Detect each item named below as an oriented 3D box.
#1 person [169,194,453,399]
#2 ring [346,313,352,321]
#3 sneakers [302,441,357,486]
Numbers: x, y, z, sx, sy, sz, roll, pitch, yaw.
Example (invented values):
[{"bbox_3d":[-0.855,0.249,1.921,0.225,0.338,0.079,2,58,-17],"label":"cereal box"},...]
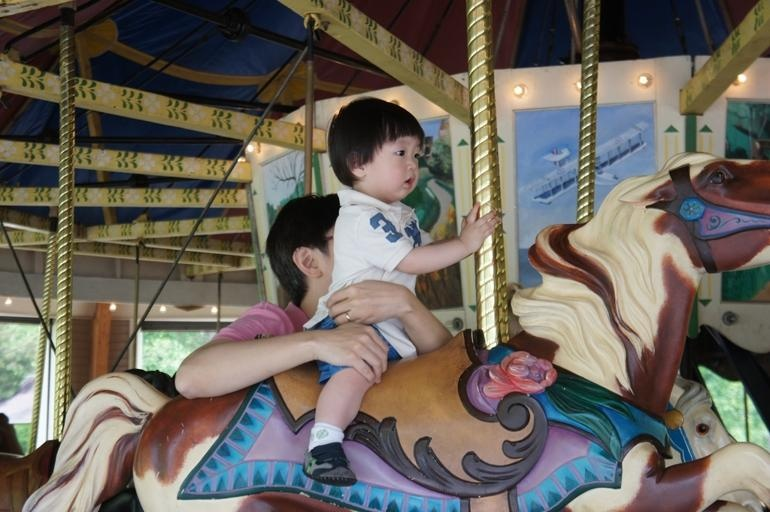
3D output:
[{"bbox_3d":[-0.348,0.156,2.764,1.063,0.594,0.732,-11,-8,39],"label":"person"},{"bbox_3d":[-0.152,0.248,2.696,0.021,0.023,0.005,0,0,39],"label":"ring"},{"bbox_3d":[-0.206,0.767,2.479,0.096,0.128,0.248,6,-8,-37],"label":"sneakers"}]
